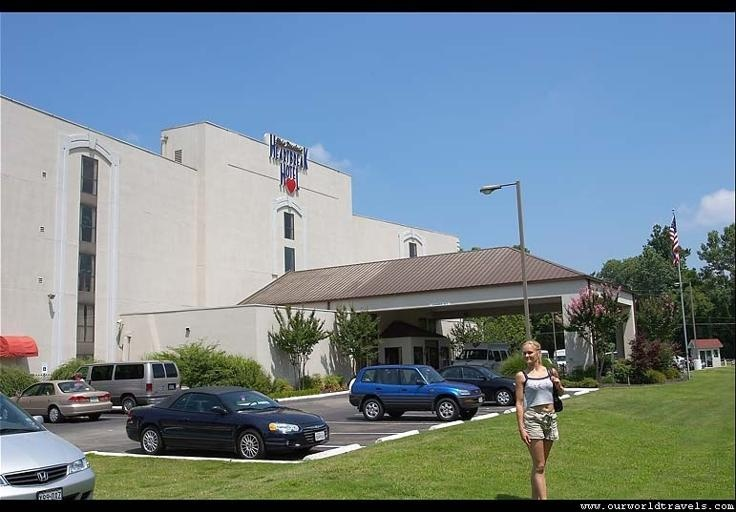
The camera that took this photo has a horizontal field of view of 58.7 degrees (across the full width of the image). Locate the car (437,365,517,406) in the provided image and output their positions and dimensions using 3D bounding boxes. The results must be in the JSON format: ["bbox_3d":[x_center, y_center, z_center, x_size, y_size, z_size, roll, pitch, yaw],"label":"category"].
[{"bbox_3d":[4.890,5.660,29.091,3.153,1.237,1.526,-1,-2,18],"label":"car"}]

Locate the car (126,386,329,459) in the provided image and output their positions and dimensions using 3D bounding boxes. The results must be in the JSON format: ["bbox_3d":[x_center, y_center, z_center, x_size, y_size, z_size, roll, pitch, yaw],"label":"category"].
[{"bbox_3d":[-4.012,4.766,18.771,4.942,1.699,2.319,-6,-12,26],"label":"car"}]

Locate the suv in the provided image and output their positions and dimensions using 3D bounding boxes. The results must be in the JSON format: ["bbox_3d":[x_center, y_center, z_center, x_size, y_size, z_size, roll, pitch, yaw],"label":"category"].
[{"bbox_3d":[1.875,5.390,24.914,4.124,1.835,2.346,-5,-8,22],"label":"suv"}]

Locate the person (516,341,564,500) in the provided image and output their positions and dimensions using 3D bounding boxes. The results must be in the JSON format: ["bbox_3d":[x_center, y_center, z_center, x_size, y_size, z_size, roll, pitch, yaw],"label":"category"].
[{"bbox_3d":[3.233,3.076,12.427,0.852,2.944,0.550,-2,-3,4],"label":"person"}]

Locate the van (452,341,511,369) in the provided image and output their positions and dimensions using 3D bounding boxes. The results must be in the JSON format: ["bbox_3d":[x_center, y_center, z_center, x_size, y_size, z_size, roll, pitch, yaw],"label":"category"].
[{"bbox_3d":[7.383,6.208,41.264,1.606,1.569,2.653,-8,-14,43],"label":"van"}]

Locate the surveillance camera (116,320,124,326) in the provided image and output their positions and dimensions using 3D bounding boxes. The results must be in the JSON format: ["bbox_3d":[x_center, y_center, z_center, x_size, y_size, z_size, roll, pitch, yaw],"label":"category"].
[{"bbox_3d":[-16.913,4.505,44.584,0.307,0.413,0.396,-2,2,-16],"label":"surveillance camera"}]
